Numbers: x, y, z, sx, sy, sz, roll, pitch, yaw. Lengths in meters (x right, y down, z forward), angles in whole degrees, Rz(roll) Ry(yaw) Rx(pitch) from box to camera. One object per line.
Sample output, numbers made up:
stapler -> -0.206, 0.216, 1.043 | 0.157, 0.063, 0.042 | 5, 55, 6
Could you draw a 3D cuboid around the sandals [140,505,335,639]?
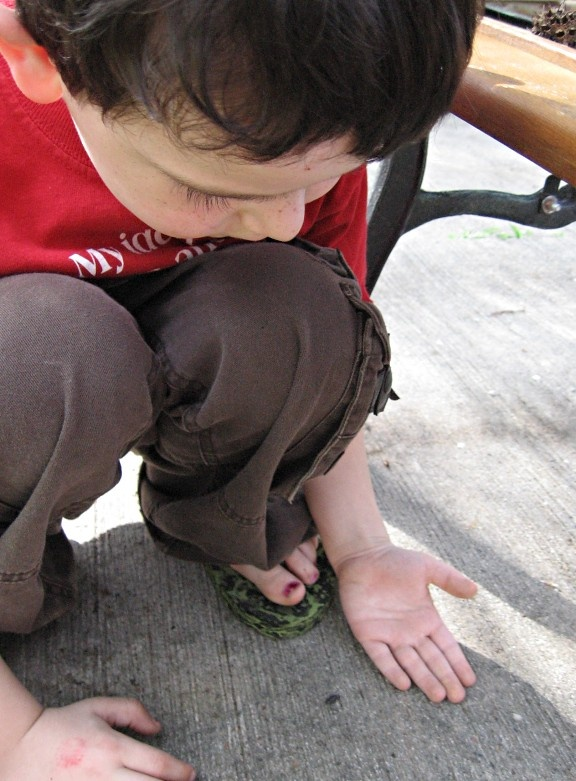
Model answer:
sandals -> -0.079, 0.238, 1.040 | 0.287, 0.037, 0.137 | 26, 38, 27
